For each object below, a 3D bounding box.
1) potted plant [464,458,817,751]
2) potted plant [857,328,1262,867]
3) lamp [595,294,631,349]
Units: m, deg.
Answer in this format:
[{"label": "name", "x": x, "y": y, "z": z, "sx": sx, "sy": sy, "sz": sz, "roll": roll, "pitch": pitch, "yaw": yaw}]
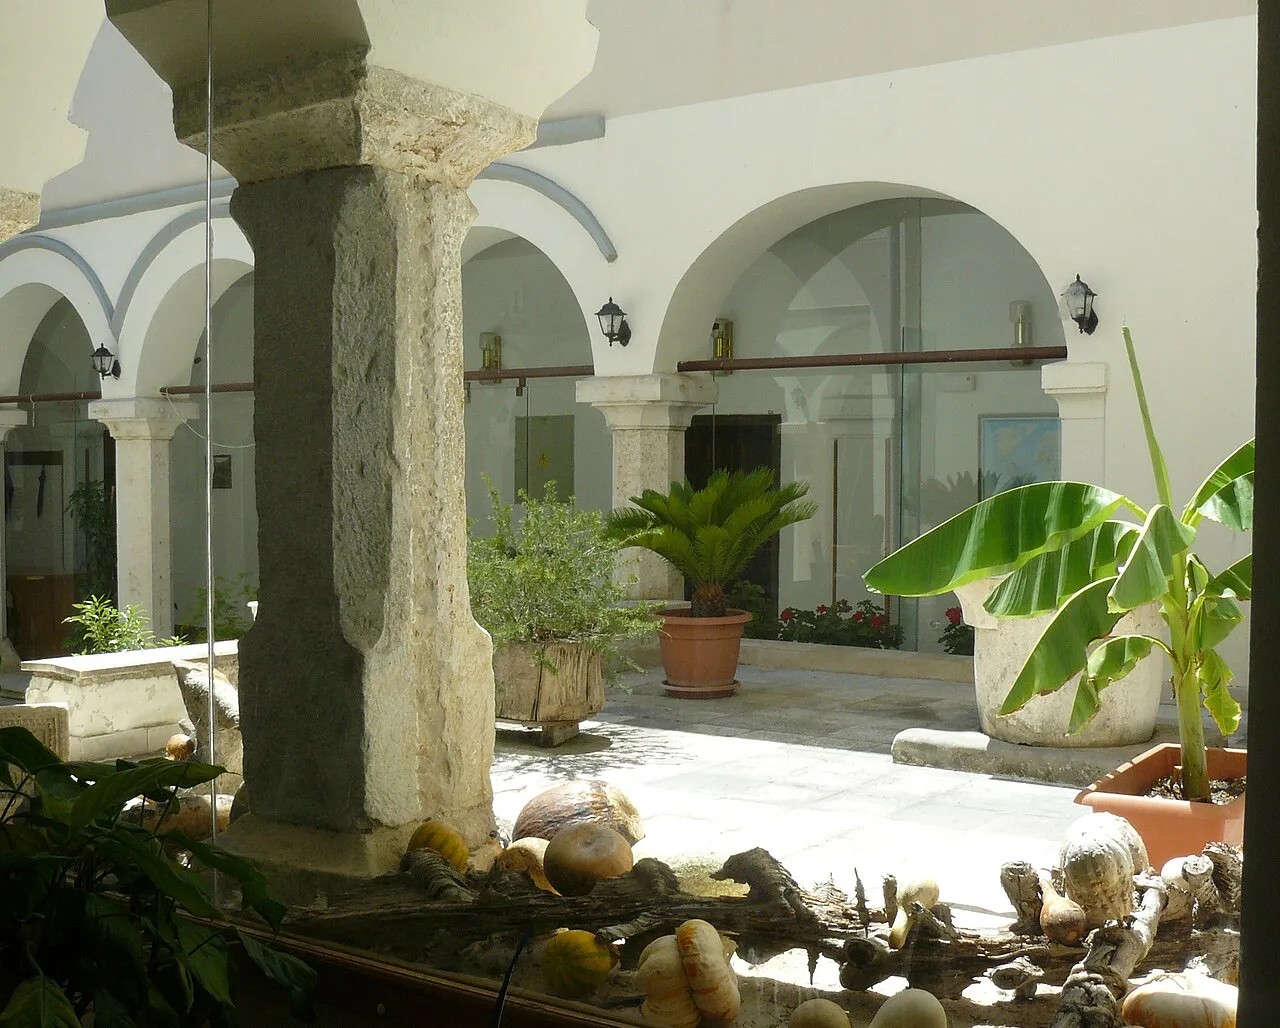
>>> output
[{"label": "potted plant", "x": -0.057, "y": 0.353, "z": 6.221, "sx": 1.395, "sy": 1.063, "sz": 1.414, "roll": 1, "pitch": -1, "yaw": 1}, {"label": "potted plant", "x": 1.387, "y": 0.182, "z": 3.784, "sx": 0.846, "sy": 1.377, "sz": 2.042, "roll": -3, "pitch": -4, "yaw": 27}, {"label": "lamp", "x": -0.199, "y": -1.320, "z": 8.781, "sx": 0.214, "sy": 0.298, "sz": 0.231, "roll": 2, "pitch": -4, "yaw": -33}]
